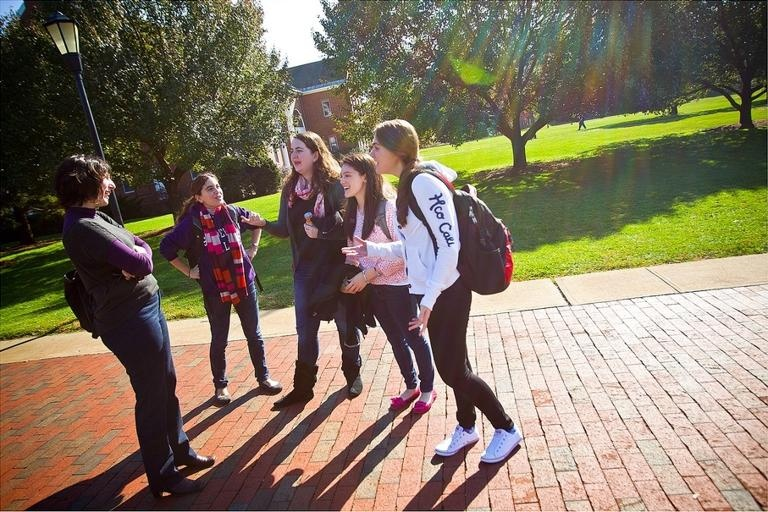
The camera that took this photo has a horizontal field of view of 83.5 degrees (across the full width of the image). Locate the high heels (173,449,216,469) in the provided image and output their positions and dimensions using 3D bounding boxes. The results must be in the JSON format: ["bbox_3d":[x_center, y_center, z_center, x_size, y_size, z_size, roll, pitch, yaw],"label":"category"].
[{"bbox_3d":[-1.901,2.099,4.435,0.435,0.191,0.143,-1,7,-13],"label":"high heels"}]

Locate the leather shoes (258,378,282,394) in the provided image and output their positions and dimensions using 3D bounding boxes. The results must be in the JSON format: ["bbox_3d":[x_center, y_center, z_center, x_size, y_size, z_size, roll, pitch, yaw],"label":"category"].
[{"bbox_3d":[-1.410,1.630,5.392,0.157,0.116,0.284,-5,3,-43],"label":"leather shoes"}]

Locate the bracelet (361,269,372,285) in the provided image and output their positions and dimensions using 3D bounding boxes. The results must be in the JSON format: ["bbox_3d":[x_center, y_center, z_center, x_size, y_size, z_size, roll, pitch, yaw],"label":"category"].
[{"bbox_3d":[-0.176,0.217,4.444,0.101,0.051,0.138,0,-23,2],"label":"bracelet"}]

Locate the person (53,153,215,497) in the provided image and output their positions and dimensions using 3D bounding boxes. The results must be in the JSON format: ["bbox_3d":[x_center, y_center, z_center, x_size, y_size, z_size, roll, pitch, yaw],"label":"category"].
[{"bbox_3d":[-2.272,0.702,3.982,0.634,3.273,0.757,-19,19,-39],"label":"person"}]

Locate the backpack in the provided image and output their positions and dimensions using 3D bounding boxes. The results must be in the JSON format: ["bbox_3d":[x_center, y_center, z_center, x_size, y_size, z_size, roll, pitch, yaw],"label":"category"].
[{"bbox_3d":[0.727,-0.238,3.703,0.681,1.102,0.347,-4,15,14],"label":"backpack"}]

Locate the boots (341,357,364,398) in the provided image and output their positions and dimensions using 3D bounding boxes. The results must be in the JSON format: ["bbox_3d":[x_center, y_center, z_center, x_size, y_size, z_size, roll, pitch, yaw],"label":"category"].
[{"bbox_3d":[-0.391,1.469,5.107,0.187,0.608,0.257,21,40,33],"label":"boots"}]
